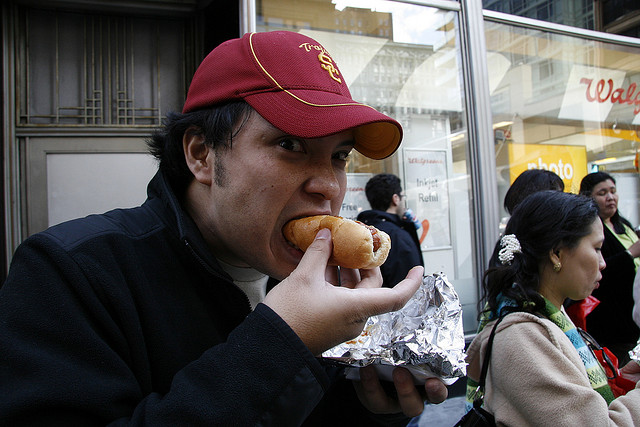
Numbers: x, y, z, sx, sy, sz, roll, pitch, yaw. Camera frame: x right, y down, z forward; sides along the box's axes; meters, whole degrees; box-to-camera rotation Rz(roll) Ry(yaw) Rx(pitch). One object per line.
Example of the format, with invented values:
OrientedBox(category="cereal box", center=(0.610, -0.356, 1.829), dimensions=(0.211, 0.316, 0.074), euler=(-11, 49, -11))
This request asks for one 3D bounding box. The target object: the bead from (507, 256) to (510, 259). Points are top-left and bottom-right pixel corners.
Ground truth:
OrientedBox(category="bead", center=(1.521, 0.350, 4.031), dimensions=(0.007, 0.020, 0.019), euler=(0, 4, -18))

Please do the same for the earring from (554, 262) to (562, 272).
OrientedBox(category="earring", center=(1.858, 0.415, 3.912), dimensions=(0.061, 0.048, 0.026), euler=(-22, 26, 38))

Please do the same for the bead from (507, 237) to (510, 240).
OrientedBox(category="bead", center=(1.550, 0.205, 4.118), dimensions=(0.017, 0.008, 0.022), euler=(3, 24, -31))

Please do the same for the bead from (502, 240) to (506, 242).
OrientedBox(category="bead", center=(1.524, 0.225, 4.141), dimensions=(0.020, 0.021, 0.021), euler=(-1, 2, 40))

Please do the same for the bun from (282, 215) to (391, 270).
OrientedBox(category="bun", center=(0.121, 0.113, 2.847), dimensions=(0.504, 0.321, 0.498), euler=(1, 5, -37))
